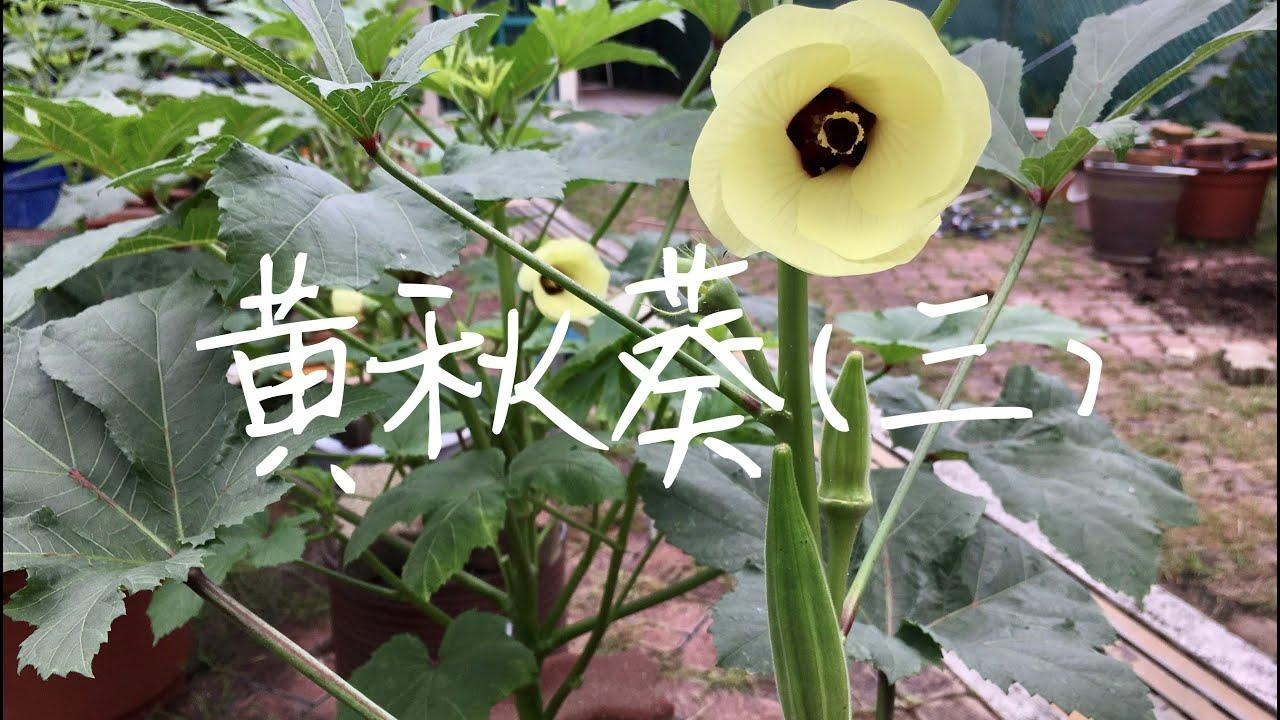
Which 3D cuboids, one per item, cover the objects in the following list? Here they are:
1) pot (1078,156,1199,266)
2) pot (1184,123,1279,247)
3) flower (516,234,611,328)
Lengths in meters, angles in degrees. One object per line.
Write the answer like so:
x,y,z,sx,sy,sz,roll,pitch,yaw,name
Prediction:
0.806,-0.254,1.583,0.164,0.161,0.161,-1,21,1,pot
0.892,-0.266,1.452,0.151,0.116,0.155,-3,18,1,pot
-0.132,-0.111,1.564,0.156,0.144,0.225,-2,27,-4,flower
